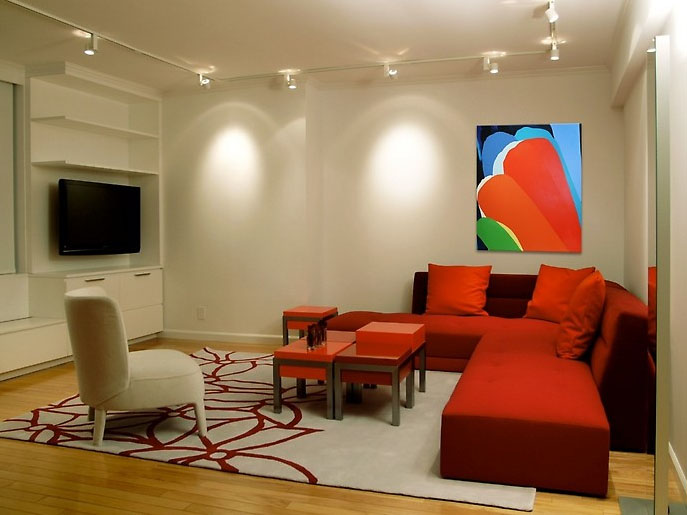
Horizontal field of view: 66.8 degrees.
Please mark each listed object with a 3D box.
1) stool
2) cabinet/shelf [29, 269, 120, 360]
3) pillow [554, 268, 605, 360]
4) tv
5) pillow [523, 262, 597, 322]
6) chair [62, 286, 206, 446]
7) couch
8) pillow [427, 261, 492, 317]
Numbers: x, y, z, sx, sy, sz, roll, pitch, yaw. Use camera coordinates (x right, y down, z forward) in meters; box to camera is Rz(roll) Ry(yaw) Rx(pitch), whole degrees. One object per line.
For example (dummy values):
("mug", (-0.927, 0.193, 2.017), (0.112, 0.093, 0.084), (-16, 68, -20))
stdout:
("stool", (0.152, 0.768, 4.239), (0.861, 0.532, 0.891), (-1, -2, 17))
("cabinet/shelf", (-2.946, 0.543, 5.773), (0.460, 0.758, 0.825), (4, 3, 16))
("pillow", (1.907, 0.388, 4.162), (0.361, 0.645, 0.722), (-1, 13, 25))
("tv", (-2.890, -0.465, 6.010), (0.097, 0.703, 0.921), (2, 2, 26))
("pillow", (2.104, 0.357, 5.122), (0.173, 0.552, 0.568), (17, -1, -25))
("chair", (-1.552, 0.747, 3.873), (0.949, 1.073, 0.797), (-1, 8, -39))
("couch", (1.141, 0.907, 3.330), (1.467, 0.519, 1.693), (2, 2, 21))
("pillow", (1.205, 0.361, 5.609), (0.660, 0.545, 0.313), (3, 2, 22))
